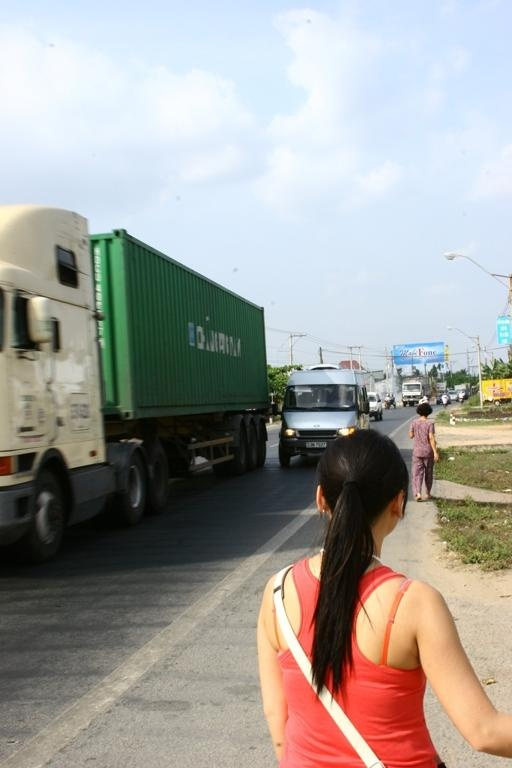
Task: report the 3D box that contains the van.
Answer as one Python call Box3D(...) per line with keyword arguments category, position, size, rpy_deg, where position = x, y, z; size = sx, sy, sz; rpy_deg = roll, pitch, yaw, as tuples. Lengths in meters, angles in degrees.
Box3D(category="van", position=(2.001, 0.833, 18.124), size=(1.801, 2.088, 3.518), rpy_deg=(-2, -5, 11))

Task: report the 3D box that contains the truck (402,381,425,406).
Box3D(category="truck", position=(21.139, 1.351, 80.895), size=(2.431, 2.784, 4.692), rpy_deg=(-2, -3, 17))

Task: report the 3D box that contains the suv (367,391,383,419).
Box3D(category="suv", position=(9.355, 1.666, 47.164), size=(1.937, 2.144, 4.406), rpy_deg=(-3, -5, 11))
